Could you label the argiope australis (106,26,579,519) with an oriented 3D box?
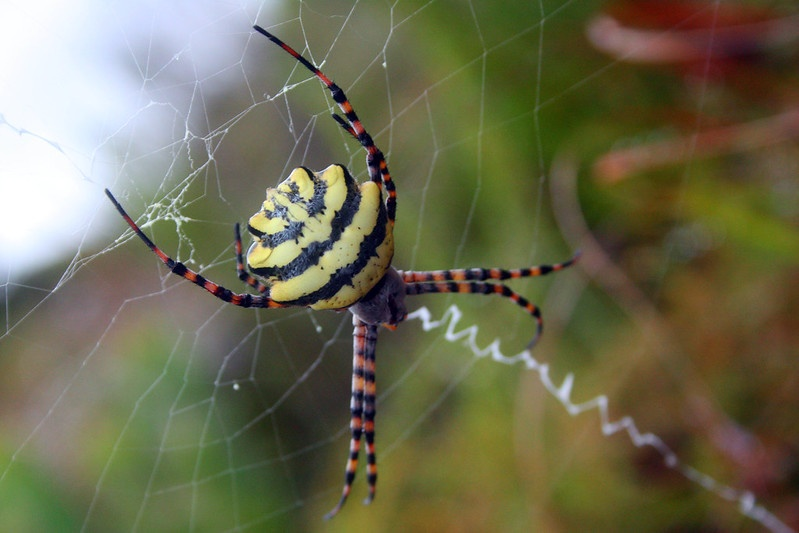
[{"bbox_3d":[-0.354,-0.262,4.988,1.636,1.949,2.024,-29,-47,23],"label":"argiope australis"}]
